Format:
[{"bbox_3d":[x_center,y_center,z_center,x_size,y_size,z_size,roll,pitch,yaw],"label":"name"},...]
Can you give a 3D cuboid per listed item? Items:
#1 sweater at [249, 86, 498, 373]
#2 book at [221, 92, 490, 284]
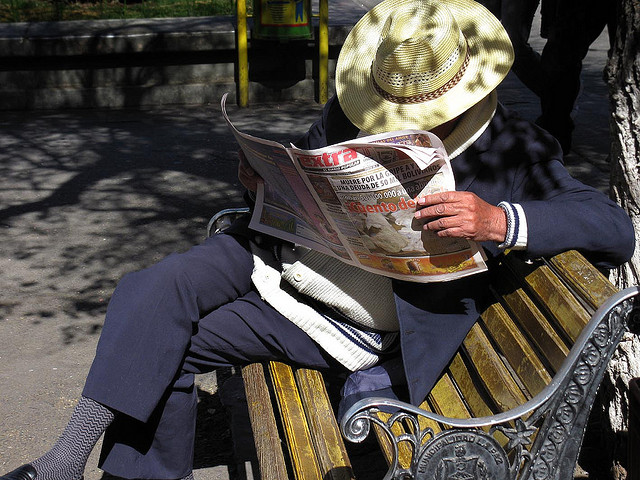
[{"bbox_3d":[0.218,-0.028,2.277,0.435,1.169,0.986,12,33,-38],"label":"sweater"},{"bbox_3d":[0.156,-0.151,2.014,1.009,0.347,0.686,2,47,-21],"label":"book"}]
